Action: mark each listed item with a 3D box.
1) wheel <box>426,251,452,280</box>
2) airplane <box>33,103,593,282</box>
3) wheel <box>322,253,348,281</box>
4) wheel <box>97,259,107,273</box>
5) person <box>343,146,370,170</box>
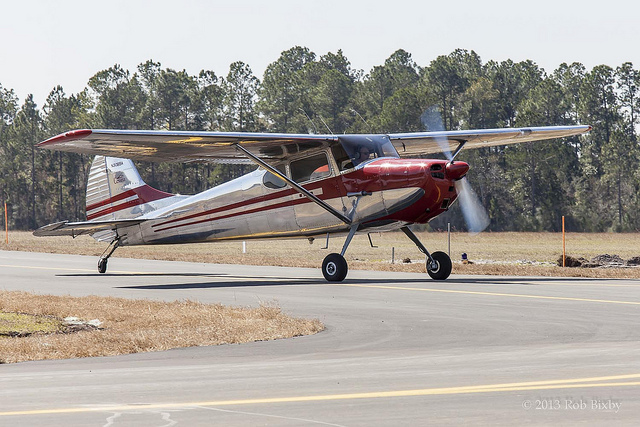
[{"bbox_3d":[3.377,1.522,23.862,0.812,0.722,0.319,15,12,41],"label":"wheel"},{"bbox_3d":[-1.518,-0.643,26.093,13.250,5.181,10.226,-1,2,-13],"label":"airplane"},{"bbox_3d":[0.391,1.555,23.666,0.952,0.823,0.357,1,-4,29],"label":"wheel"},{"bbox_3d":[-7.152,1.728,27.340,0.340,0.523,0.418,0,5,-6],"label":"wheel"},{"bbox_3d":[1.059,-1.526,23.401,0.748,0.282,0.516,-19,-3,12],"label":"person"}]
